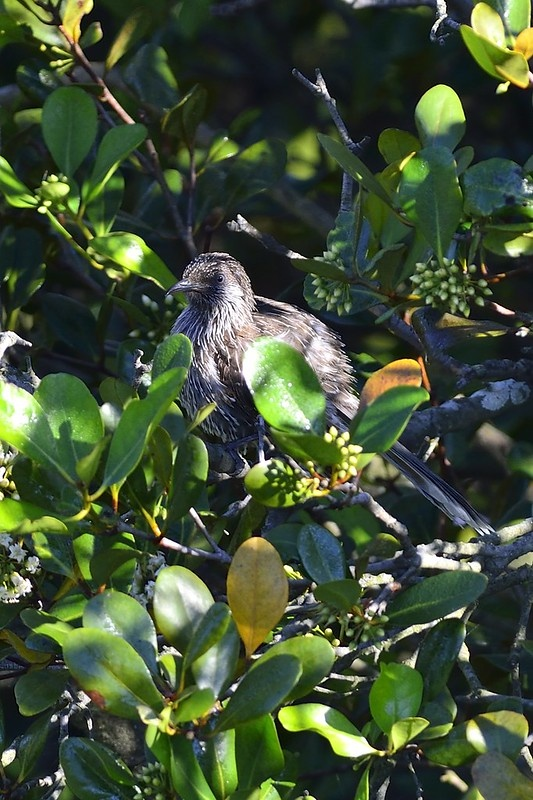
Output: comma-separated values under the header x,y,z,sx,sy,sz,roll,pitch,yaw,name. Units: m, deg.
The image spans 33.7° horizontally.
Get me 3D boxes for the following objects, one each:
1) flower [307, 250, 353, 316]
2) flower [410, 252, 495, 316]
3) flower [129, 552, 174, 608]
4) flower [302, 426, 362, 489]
x,y,z,sx,sy,sz,roll,pitch,yaw,name
0.211,-0.365,2.921,0.051,0.192,0.207,-19,32,-33,flower
0.528,-0.323,2.551,0.181,0.209,0.119,35,98,7,flower
-0.288,0.443,2.163,0.065,0.156,0.162,20,67,-3,flower
0.157,0.130,1.953,0.146,0.131,0.121,-10,75,11,flower
